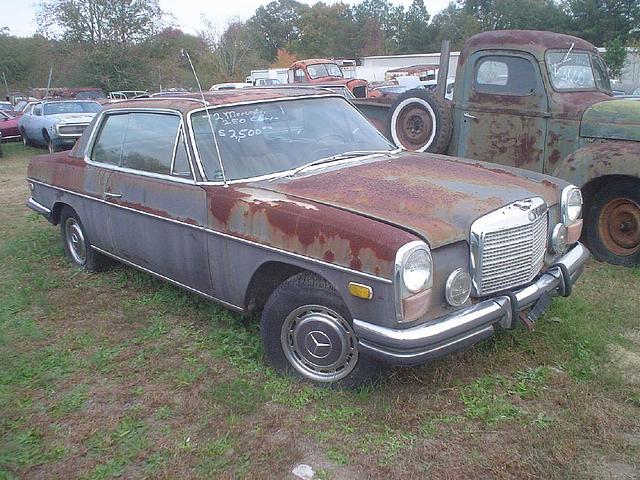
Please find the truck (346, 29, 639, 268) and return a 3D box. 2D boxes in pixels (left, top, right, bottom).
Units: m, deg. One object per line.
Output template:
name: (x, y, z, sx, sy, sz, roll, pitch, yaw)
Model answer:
truck: (2.489, -1.549, 6.089, 3.732, 1.990, 2.285, 15, 24, 40)
